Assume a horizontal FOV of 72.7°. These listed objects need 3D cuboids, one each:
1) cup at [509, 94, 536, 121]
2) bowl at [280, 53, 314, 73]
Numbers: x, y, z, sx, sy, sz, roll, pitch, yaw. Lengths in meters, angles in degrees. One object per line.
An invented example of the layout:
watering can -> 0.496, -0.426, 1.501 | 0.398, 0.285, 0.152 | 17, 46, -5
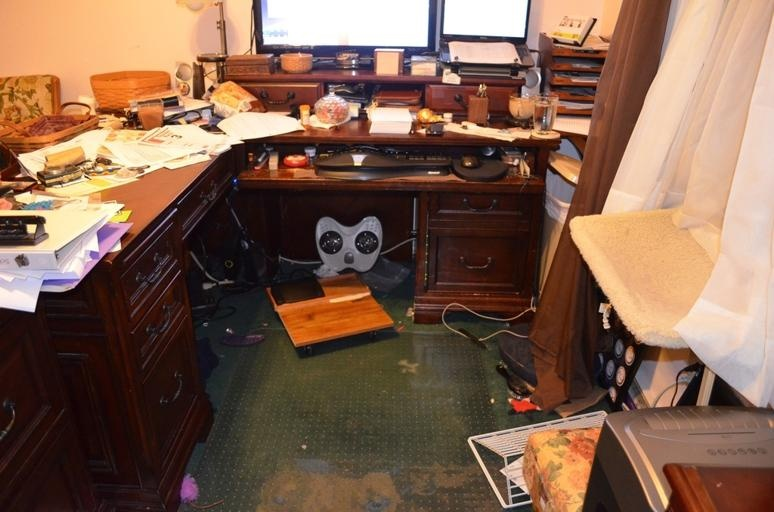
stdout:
cup -> 0.696, -0.763, 2.705 | 0.111, 0.098, 0.128 | 3, 32, 12
bowl -> -0.497, -1.025, 2.864 | 0.128, 0.065, 0.128 | 2, 35, -1
